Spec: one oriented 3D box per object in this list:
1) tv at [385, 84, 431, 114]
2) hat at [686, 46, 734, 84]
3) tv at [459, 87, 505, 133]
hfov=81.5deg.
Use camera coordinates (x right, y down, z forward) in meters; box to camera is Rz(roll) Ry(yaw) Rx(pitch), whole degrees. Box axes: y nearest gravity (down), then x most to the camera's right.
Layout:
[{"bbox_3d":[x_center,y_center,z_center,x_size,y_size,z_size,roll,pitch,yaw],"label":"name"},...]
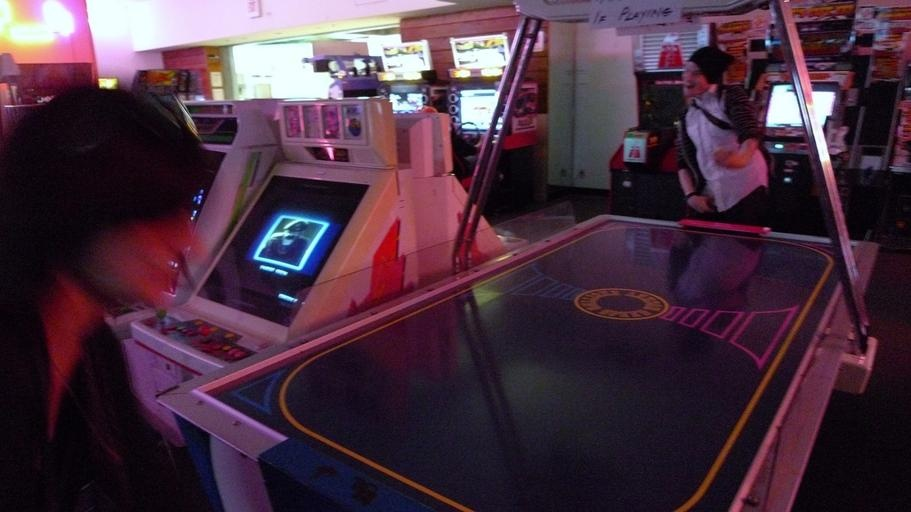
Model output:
[{"bbox_3d":[-0.688,-2.252,7.540,0.264,0.336,0.646,-22,28,-36],"label":"tv"},{"bbox_3d":[1.501,-1.154,3.195,0.307,0.195,0.192,12,33,9],"label":"hat"},{"bbox_3d":[0.274,-1.976,7.203,0.539,0.583,0.159,8,27,26],"label":"tv"}]
